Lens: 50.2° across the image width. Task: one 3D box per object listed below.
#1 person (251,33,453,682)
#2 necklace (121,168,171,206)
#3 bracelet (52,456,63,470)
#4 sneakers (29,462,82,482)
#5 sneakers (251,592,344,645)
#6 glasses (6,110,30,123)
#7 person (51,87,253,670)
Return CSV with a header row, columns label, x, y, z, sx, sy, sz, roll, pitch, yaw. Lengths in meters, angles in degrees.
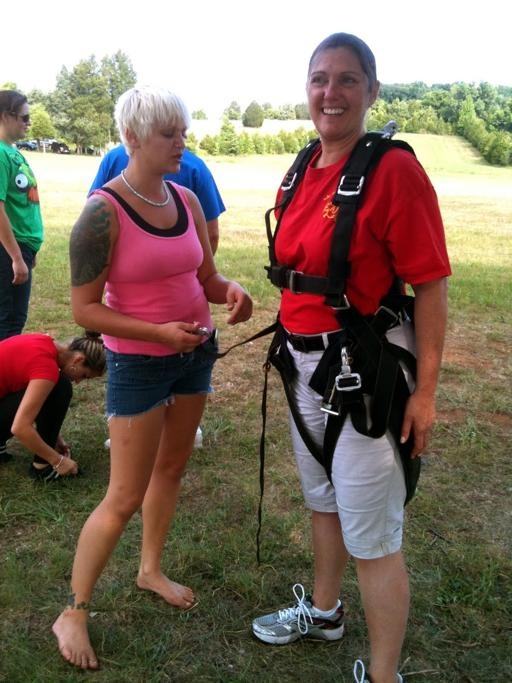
label,x,y,z,sx,sy,sz,roll,pitch,yaw
person,0.301,0.080,1.766,0.379,2.040,0.676,-3,16,-22
necklace,-0.359,-0.524,1.908,0.129,0.115,0.264,9,15,23
bracelet,-1.106,0.684,3.098,0.031,0.070,0.060,15,9,-27
sneakers,-1.135,0.733,3.169,0.303,0.122,0.099,-3,24,-16
sneakers,0.141,1.081,2.209,0.410,0.224,0.155,3,-1,-4
glasses,-1.647,-1.571,3.867,0.101,0.033,0.096,6,11,17
person,-0.375,0.149,2.011,0.443,1.979,0.746,10,16,25
